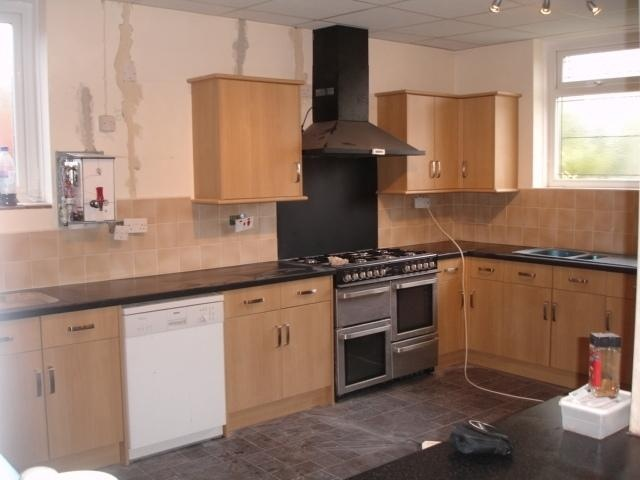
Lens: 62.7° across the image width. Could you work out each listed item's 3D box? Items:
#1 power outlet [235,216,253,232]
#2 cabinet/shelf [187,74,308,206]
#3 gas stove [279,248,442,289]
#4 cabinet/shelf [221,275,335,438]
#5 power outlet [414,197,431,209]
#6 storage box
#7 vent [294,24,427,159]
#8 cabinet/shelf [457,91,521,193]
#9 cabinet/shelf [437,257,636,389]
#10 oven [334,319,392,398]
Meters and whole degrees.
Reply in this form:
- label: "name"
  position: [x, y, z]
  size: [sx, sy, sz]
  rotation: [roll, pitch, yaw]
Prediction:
- label: "power outlet"
  position: [-0.640, -0.141, 4.428]
  size: [0.105, 0.118, 0.193]
  rotation: [2, 7, 39]
- label: "cabinet/shelf"
  position: [-0.560, -0.784, 4.130]
  size: [0.880, 0.957, 0.424]
  rotation: [-3, 11, -17]
- label: "gas stove"
  position: [0.350, 0.212, 4.712]
  size: [1.371, 0.169, 0.708]
  rotation: [-7, 12, -32]
- label: "cabinet/shelf"
  position: [-0.467, 0.835, 4.213]
  size: [0.574, 1.019, 1.053]
  rotation: [2, 4, 44]
- label: "power outlet"
  position: [1.122, -0.397, 5.653]
  size: [0.111, 0.139, 0.301]
  rotation: [10, 14, 42]
- label: "storage box"
  position: [0.997, 0.604, 1.895]
  size: [0.140, 0.087, 0.211]
  rotation: [7, 11, 44]
- label: "vent"
  position: [0.310, -1.304, 5.097]
  size: [1.178, 1.237, 1.165]
  rotation: [-1, 0, -35]
- label: "cabinet/shelf"
  position: [1.706, -0.985, 5.304]
  size: [0.611, 0.969, 0.343]
  rotation: [2, 11, 12]
- label: "cabinet/shelf"
  position: [1.837, 0.681, 4.430]
  size: [0.386, 0.670, 1.161]
  rotation: [-1, 3, -40]
- label: "oven"
  position: [0.282, 0.973, 4.546]
  size: [0.608, 0.544, 0.455]
  rotation: [-5, 5, -36]
